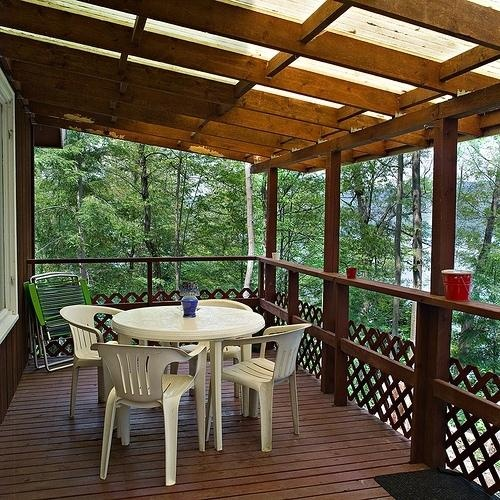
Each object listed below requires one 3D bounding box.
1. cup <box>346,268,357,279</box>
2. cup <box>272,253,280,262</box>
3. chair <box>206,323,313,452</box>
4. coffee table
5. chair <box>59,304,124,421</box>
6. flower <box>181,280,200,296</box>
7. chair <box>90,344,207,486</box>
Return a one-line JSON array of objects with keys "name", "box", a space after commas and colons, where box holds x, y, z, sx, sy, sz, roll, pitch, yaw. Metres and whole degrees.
[{"name": "cup", "box": [0.810, 0.181, 3.451, 0.099, 0.111, 0.103, -1, 7, 0]}, {"name": "cup", "box": [0.312, 0.076, 5.219, 0.104, 0.081, 0.084, 2, 1, 5]}, {"name": "chair", "box": [0.046, 0.839, 2.825, 0.647, 0.649, 0.624, 1, -5, 8]}, {"name": "coffee table", "box": [-0.351, 0.708, 2.996, 0.953, 0.587, 0.918, 4, 9, 31]}, {"name": "chair", "box": [-1.049, 0.817, 3.220, 0.687, 0.678, 0.642, -5, -3, -20]}, {"name": "flower", "box": [-0.433, 0.263, 3.046, 0.106, 0.080, 0.129, 2, -8, -9]}, {"name": "chair", "box": [-0.548, 0.846, 2.447, 0.652, 0.616, 0.650, 2, -6, -32]}]
